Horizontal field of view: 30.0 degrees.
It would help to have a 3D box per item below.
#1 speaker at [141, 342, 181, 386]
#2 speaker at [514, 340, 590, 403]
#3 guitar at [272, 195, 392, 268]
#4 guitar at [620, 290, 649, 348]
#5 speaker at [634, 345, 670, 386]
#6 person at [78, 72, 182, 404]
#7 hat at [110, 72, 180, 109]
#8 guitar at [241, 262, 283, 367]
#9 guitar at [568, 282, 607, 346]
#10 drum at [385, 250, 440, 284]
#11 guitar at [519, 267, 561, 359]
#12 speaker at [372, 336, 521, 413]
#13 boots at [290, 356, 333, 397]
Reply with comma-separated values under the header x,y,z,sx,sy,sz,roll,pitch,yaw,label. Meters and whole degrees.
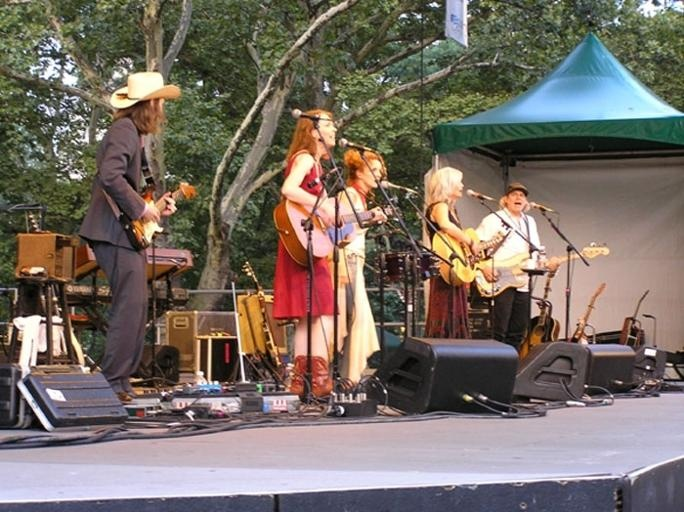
x,y,z,sx,sy,sz,roll,pitch,yaw,label
-2.131,1.280,14.931,0.535,0.475,0.284,4,-19,-14,speaker
2.177,1.203,13.157,0.616,0.553,0.830,0,-7,16,speaker
-0.250,-0.242,13.234,0.897,0.714,0.584,1,-4,-4,guitar
3.909,0.805,17.039,0.330,0.785,1.585,0,-5,15,guitar
3.464,1.231,14.329,0.406,0.398,0.431,1,-2,-12,speaker
-2.178,-0.222,12.746,0.806,3.298,0.352,2,-4,-13,person
-1.979,-1.691,12.964,0.466,0.215,0.531,-1,14,46,hat
-1.037,0.775,16.377,0.309,1.471,0.168,-10,8,5,guitar
3.217,0.787,16.698,0.419,0.085,0.996,0,-46,-9,guitar
0.774,0.118,13.771,0.334,0.205,0.420,2,-4,-32,drum
2.476,0.776,15.971,0.434,1.087,0.132,4,27,15,guitar
1.083,1.141,12.376,1.063,0.598,0.803,3,-5,-24,speaker
-0.320,1.247,13.208,0.440,0.426,0.595,1,-5,-3,boots
